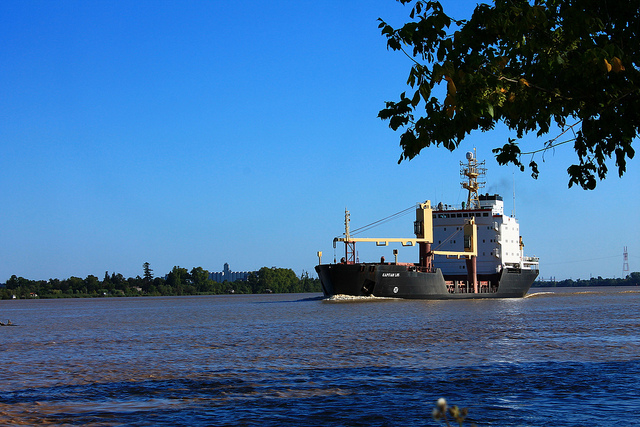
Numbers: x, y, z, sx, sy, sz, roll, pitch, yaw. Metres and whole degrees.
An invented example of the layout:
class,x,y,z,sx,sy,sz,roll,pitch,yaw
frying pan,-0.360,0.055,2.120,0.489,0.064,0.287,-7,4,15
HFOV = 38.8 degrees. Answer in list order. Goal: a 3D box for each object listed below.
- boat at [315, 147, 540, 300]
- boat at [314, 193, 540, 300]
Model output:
class,x,y,z,sx,sy,sz,roll,pitch,yaw
boat,9.599,3.114,87.792,33.152,13.884,9.526,1,0,-45
boat,10.997,3.868,86.478,8.537,11.519,33.753,-7,-7,40
